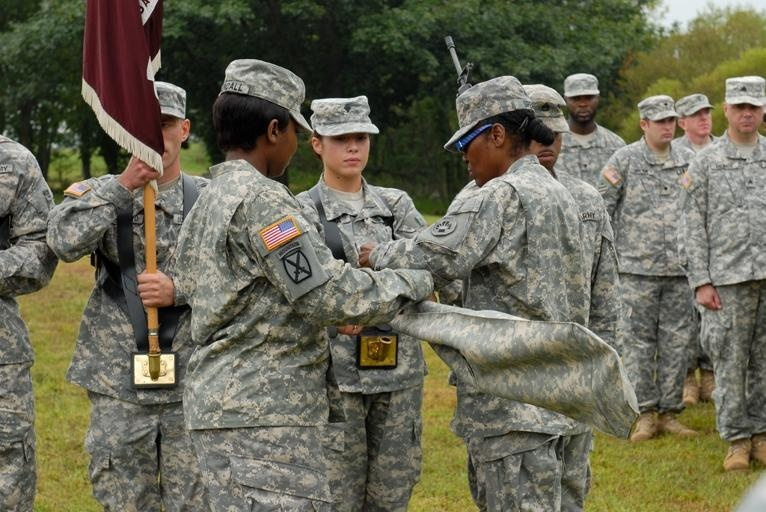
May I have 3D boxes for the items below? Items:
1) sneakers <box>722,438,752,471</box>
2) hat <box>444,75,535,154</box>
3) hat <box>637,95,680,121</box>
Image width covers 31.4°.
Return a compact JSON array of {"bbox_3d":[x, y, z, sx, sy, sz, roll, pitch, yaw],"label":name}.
[{"bbox_3d":[3.801,2.109,14.665,0.277,0.337,0.162,3,2,7],"label":"sneakers"},{"bbox_3d":[0.902,-1.280,12.410,0.781,0.351,0.549,-18,-4,13],"label":"hat"},{"bbox_3d":[3.178,-1.720,15.820,0.343,0.175,0.393,-4,8,-24],"label":"hat"}]
